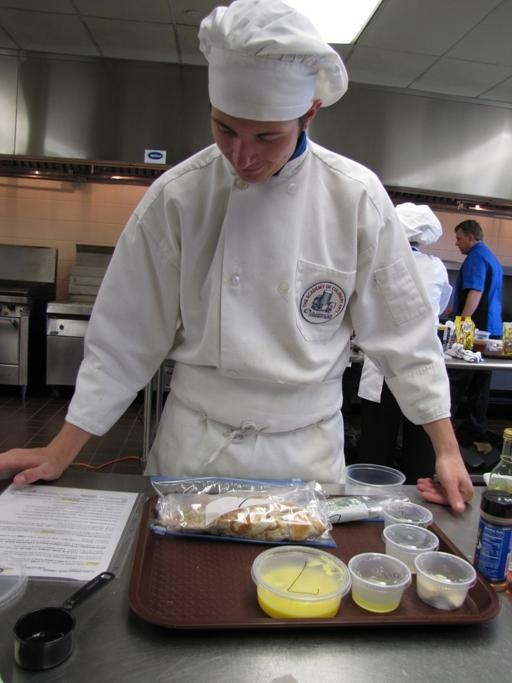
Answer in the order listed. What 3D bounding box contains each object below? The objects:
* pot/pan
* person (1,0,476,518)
[{"bbox_3d":[-0.231,0.333,0.648,0.056,0.039,0.139,0,-1,11],"label":"pot/pan"},{"bbox_3d":[0.002,-0.112,1.016,0.855,0.869,0.358,4,7,10],"label":"person"}]
